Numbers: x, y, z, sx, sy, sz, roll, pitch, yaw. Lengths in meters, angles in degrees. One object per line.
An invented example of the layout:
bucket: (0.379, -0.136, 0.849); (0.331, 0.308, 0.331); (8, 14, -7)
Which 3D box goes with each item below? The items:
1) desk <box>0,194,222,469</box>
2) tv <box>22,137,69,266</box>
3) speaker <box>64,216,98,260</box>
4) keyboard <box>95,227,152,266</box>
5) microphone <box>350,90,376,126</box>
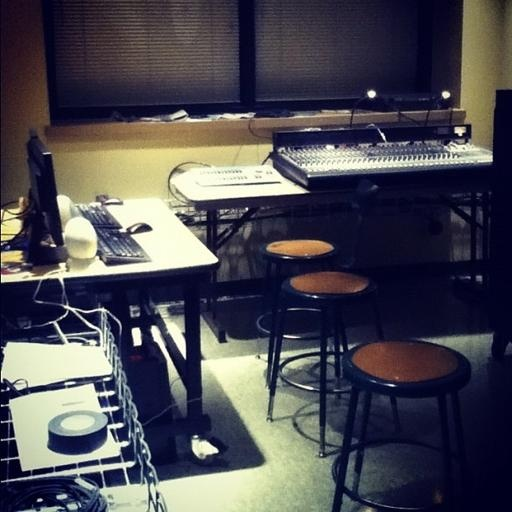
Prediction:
desk: (-0.506, 0.455, 2.090); (0.654, 0.652, 1.273); (-3, 29, -14)
tv: (-0.714, -0.195, 1.718); (0.111, 0.396, 0.424); (-5, 17, -27)
speaker: (-0.553, -0.052, 1.622); (0.086, 0.143, 0.091); (10, 27, 23)
keyboard: (-0.448, -0.031, 1.746); (0.039, 0.159, 0.393); (4, 0, -43)
microphone: (0.694, -0.948, 3.317); (0.124, 0.094, 0.344); (-12, -16, 0)
